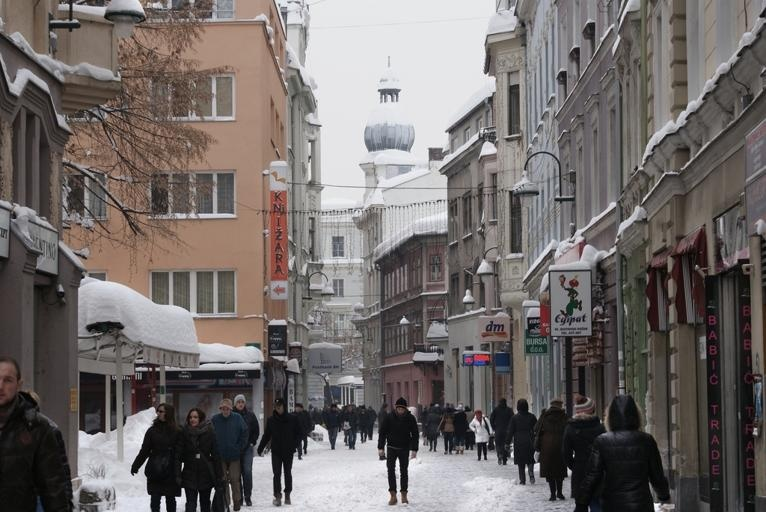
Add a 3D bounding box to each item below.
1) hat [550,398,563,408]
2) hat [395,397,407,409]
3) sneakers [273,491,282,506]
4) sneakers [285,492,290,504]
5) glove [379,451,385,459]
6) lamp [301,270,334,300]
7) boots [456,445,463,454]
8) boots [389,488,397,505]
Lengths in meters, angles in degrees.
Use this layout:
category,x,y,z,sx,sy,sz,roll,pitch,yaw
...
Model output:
category,x,y,z,sx,sy,sz,roll,pitch,yaw
hat,3.563,3.004,30.458,0.210,0.190,0.159,-3,5,-28
hat,0.357,2.973,30.272,0.162,0.200,0.251,4,-7,-2
sneakers,-2.159,4.909,29.973,0.168,0.274,0.406,-2,-13,-7
sneakers,-1.959,4.919,30.225,0.118,0.238,0.309,-3,-12,-4
glove,-0.040,3.984,29.901,0.134,0.269,0.251,0,-9,0
lamp,-3.330,1.025,73.950,1.358,2.264,1.942,-2,-5,22
boots,2.604,6.584,50.701,0.217,0.299,0.242,2,-9,-7
boots,0.172,4.873,30.059,0.173,0.314,0.495,-3,-13,-1
